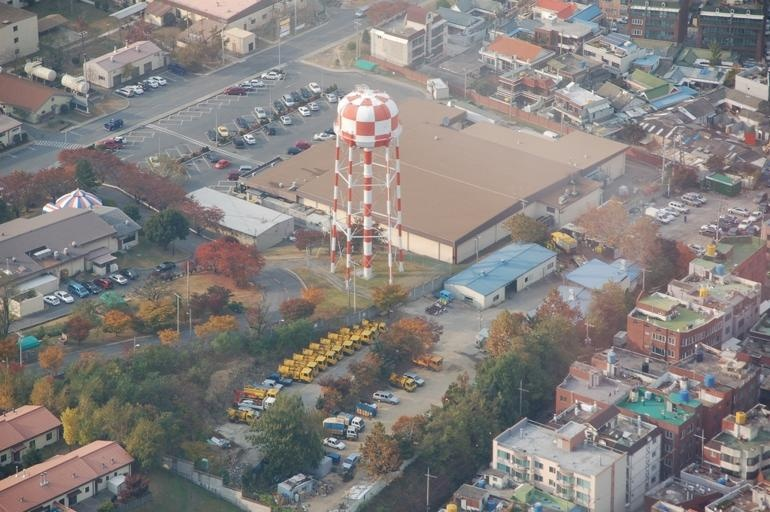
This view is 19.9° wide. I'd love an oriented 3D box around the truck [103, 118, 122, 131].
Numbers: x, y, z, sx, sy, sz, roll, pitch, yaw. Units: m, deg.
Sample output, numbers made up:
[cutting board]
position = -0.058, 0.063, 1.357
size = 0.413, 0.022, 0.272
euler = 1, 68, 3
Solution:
[truck]
position = -47.076, -23.923, 388.191
size = 3.197, 1.528, 1.782
euler = -25, 49, -29
